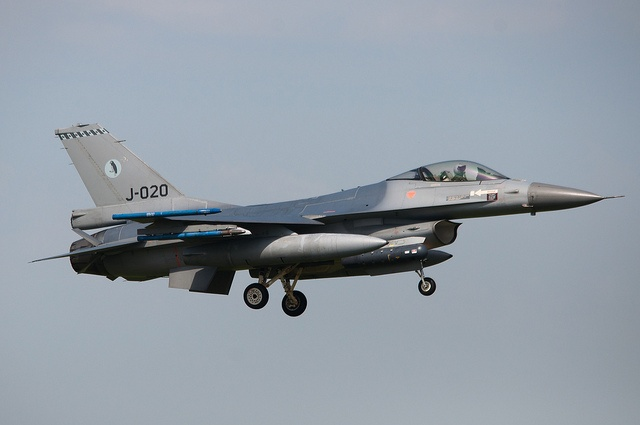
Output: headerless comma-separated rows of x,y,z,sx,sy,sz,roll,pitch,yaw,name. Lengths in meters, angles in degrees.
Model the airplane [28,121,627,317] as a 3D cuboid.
-0.740,0.372,23.970,9.277,6.468,2.907,-4,-93,14,airplane
